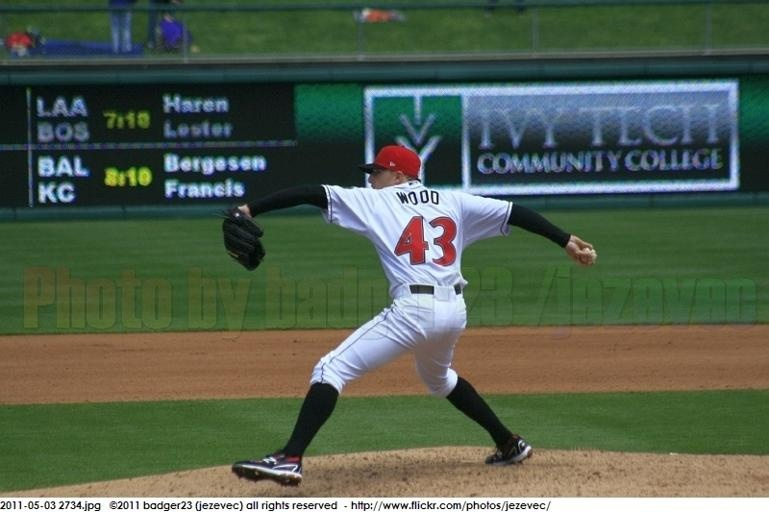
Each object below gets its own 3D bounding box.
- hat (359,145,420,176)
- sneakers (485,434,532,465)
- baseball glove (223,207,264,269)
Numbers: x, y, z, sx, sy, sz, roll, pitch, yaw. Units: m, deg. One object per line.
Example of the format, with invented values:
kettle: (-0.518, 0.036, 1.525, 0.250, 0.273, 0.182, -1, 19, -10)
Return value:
hat: (0.099, -1.124, 18.682, 0.618, 0.322, 0.363, 11, 2, 4)
sneakers: (1.547, 2.421, 18.868, 0.667, 0.284, 0.239, -22, -8, 8)
baseball glove: (-1.699, -0.309, 18.436, 0.267, 0.439, 0.591, 15, 2, -43)
